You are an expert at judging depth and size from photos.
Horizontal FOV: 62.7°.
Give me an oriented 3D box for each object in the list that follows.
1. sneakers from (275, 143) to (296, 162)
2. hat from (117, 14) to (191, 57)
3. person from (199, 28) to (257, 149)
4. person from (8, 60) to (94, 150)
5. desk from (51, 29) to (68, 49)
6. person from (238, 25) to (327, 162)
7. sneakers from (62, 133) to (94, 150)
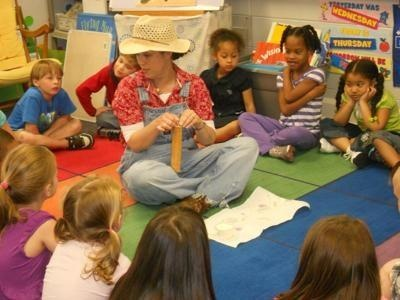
[{"bbox_3d":[0.694,0.027,2.678,0.140,0.132,0.096,9,18,12],"label":"sneakers"},{"bbox_3d":[-0.285,-0.688,2.013,0.331,0.128,0.335,1,9,3],"label":"hat"},{"bbox_3d":[0.161,-0.601,3.059,0.731,0.940,0.680,-8,26,-13],"label":"person"},{"bbox_3d":[-1.391,-0.485,3.131,0.889,0.839,0.718,19,25,30],"label":"person"},{"bbox_3d":[-2.069,-1.634,4.839,0.219,0.280,0.528,-3,18,-24],"label":"desk"},{"bbox_3d":[0.758,-0.532,2.882,0.728,1.044,0.728,-14,23,-22],"label":"person"},{"bbox_3d":[-1.123,-0.080,3.029,0.297,0.095,0.120,-6,9,-3],"label":"sneakers"}]
